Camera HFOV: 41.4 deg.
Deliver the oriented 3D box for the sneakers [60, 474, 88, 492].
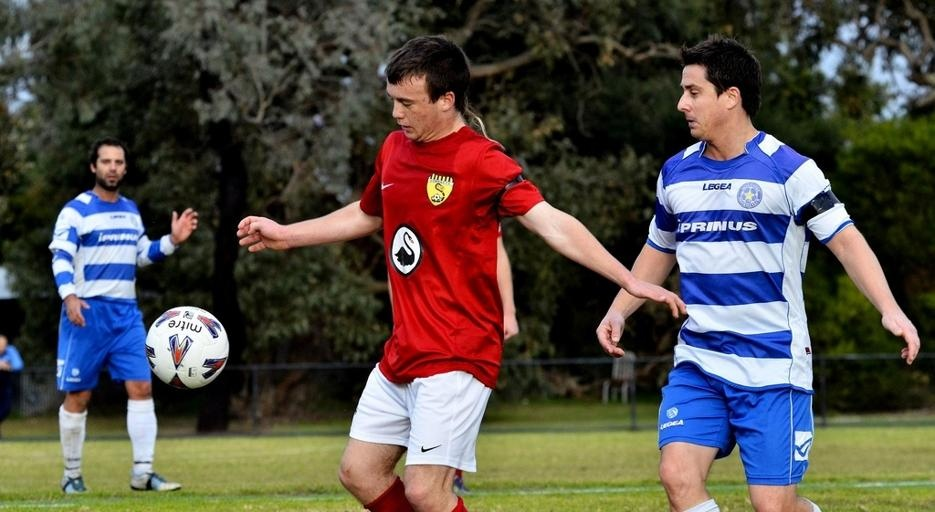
[{"bbox_3d":[-6.394,3.709,20.112,0.191,0.222,0.490,3,-7,-31],"label":"sneakers"}]
